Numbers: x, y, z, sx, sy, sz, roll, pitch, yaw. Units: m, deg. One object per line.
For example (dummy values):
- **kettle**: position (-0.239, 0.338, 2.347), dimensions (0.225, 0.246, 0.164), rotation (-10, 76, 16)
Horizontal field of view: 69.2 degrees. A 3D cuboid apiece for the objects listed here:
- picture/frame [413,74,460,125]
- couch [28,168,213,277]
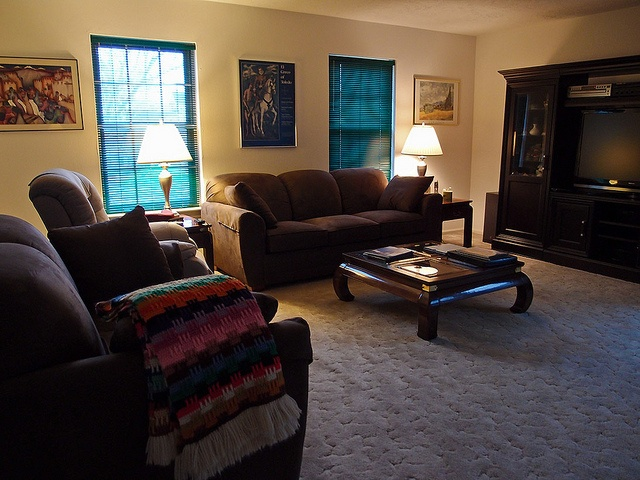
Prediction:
- **picture/frame**: position (1.603, -1.919, 6.398), dimensions (0.849, 0.661, 0.035), rotation (-9, 16, -29)
- **couch**: position (-1.587, -0.077, 3.920), dimensions (1.143, 0.933, 2.149), rotation (-5, 3, -18)
